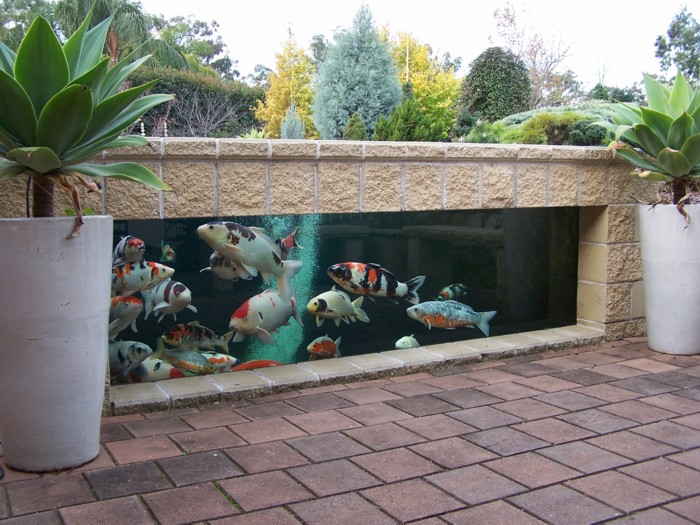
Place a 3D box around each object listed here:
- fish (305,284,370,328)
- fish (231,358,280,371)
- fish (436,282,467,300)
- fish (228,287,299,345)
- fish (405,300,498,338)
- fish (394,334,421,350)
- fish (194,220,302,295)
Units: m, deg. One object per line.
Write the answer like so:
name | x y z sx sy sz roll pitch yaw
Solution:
fish | -0.118 0.449 4.551 0.712 0.329 0.163 8 -11 -39
fish | -0.826 0.908 4.220 0.419 0.079 0.039 -3 8 -26
fish | 1.047 0.308 4.932 0.337 0.174 0.017 -2 8 -22
fish | -0.743 0.465 4.408 0.316 0.416 0.951 7 8 33
fish | 1.053 0.598 4.981 1.095 0.431 0.033 -2 8 -23
fish | 0.560 0.817 4.802 0.098 0.129 0.282 -4 -7 43
fish | -0.847 -0.058 4.167 0.263 0.461 1.153 -20 -37 40
